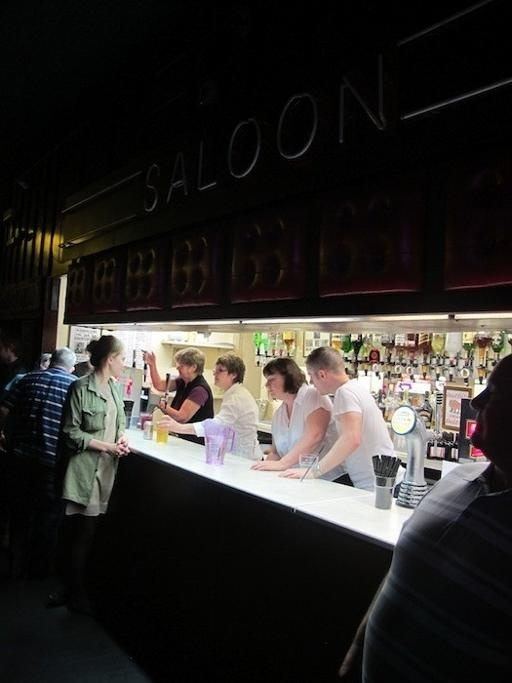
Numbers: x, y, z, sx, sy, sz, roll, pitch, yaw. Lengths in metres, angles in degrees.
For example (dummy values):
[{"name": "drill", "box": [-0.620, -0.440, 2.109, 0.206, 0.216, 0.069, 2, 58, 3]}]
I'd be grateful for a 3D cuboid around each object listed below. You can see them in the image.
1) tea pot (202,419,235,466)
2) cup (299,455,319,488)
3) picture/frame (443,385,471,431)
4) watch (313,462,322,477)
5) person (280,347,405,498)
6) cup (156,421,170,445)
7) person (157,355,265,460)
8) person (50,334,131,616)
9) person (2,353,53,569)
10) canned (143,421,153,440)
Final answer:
[{"name": "tea pot", "box": [-0.252, 0.652, 2.780, 0.215, 0.378, 0.212, -1, -5, 0]}, {"name": "cup", "box": [0.284, 0.689, 2.228, 0.100, 0.194, 0.112, 0, -14, 20]}, {"name": "picture/frame", "box": [1.865, 0.642, 3.965, 0.250, 0.502, 0.050, 0, -37, 33]}, {"name": "watch", "box": [0.323, 0.694, 2.286, 0.044, 0.073, 0.063, 0, -4, 42]}, {"name": "person", "box": [0.563, 0.369, 2.894, 0.694, 1.599, 0.683, 1, 3, 15]}, {"name": "cup", "box": [-0.709, 0.697, 3.204, 0.085, 0.153, 0.101, 4, -6, -7]}, {"name": "person", "box": [-0.369, 0.593, 3.854, 0.737, 1.392, 0.728, 2, -9, -2]}, {"name": "person", "box": [-1.117, 0.854, 2.894, 0.418, 1.780, 0.492, 6, -7, -26]}, {"name": "person", "box": [-1.707, 0.976, 3.227, 0.466, 1.523, 0.265, -3, -8, 45]}, {"name": "canned", "box": [-0.856, 0.710, 3.373, 0.065, 0.143, 0.104, 4, -7, -15]}]
